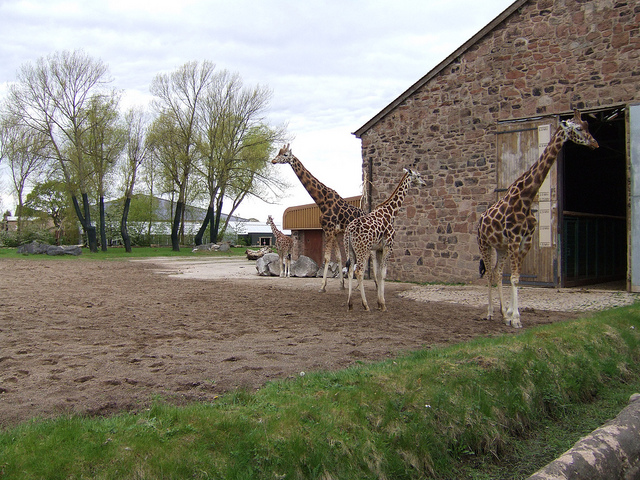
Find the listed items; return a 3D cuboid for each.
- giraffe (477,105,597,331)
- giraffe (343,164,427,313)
[{"bbox_3d":[3.613,-0.349,9.154,1.596,3.709,0.954,1,-1,19],"label":"giraffe"},{"bbox_3d":[1.196,0.078,10.909,0.843,2.762,1.894,0,-2,33],"label":"giraffe"}]
